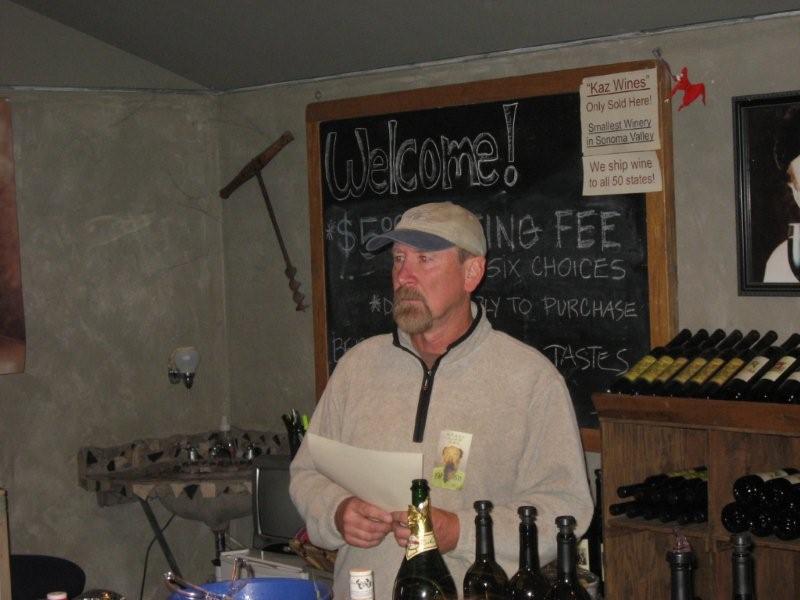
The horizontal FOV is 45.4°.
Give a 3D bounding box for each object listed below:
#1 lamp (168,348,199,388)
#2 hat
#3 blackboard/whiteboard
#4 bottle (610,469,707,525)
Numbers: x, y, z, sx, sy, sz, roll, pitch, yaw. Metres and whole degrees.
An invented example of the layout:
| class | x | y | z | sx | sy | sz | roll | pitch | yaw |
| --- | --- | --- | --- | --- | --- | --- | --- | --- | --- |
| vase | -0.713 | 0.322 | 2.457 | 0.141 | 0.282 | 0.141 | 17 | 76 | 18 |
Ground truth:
| class | x | y | z | sx | sy | sz | roll | pitch | yaw |
| --- | --- | --- | --- | --- | --- | --- | --- | --- | --- |
| lamp | -1.111 | 0.347 | 4.957 | 0.155 | 0.207 | 0.154 | 4 | -8 | -28 |
| hat | 0.121 | -0.237 | 3.359 | 0.301 | 0.163 | 0.222 | 3 | -2 | -31 |
| blackboard/whiteboard | 0.465 | -0.210 | 3.994 | 1.638 | 1.544 | 0.168 | -4 | -3 | 28 |
| bottle | 1.017 | 0.759 | 3.668 | 0.264 | 0.091 | 0.213 | -4 | 5 | -34 |
